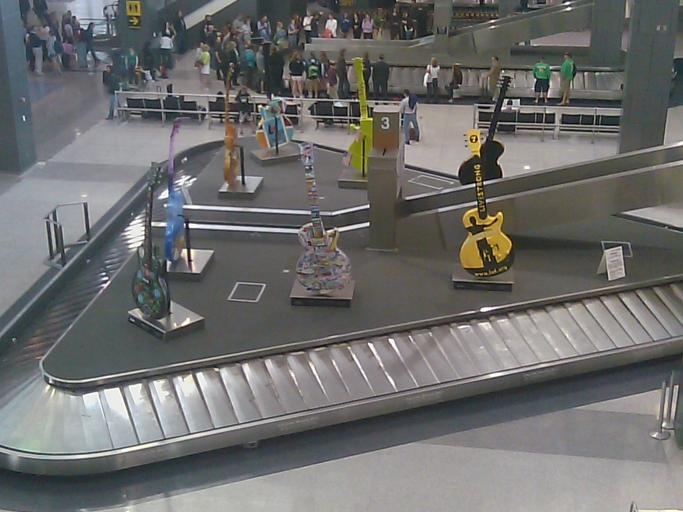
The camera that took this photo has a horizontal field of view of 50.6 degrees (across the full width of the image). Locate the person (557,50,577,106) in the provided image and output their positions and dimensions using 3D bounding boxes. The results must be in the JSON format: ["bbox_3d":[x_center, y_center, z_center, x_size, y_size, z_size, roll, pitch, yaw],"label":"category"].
[{"bbox_3d":[6.024,-4.730,19.055,0.389,1.371,1.152,4,22,17],"label":"person"}]

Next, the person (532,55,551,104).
[{"bbox_3d":[5.354,-4.675,19.147,0.433,1.205,0.871,3,22,15],"label":"person"}]

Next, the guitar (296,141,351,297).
[{"bbox_3d":[-0.251,-0.444,9.618,0.773,2.081,0.421,-3,20,-1],"label":"guitar"}]

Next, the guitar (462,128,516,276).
[{"bbox_3d":[2.085,-0.767,10.153,0.712,1.941,0.827,2,21,12],"label":"guitar"}]

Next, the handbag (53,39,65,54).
[{"bbox_3d":[-5.481,-4.059,13.949,0.168,0.288,0.258,-20,27,-37],"label":"handbag"}]

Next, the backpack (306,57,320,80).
[{"bbox_3d":[-0.711,-4.950,19.066,0.310,0.527,0.472,-1,12,-3],"label":"backpack"}]
